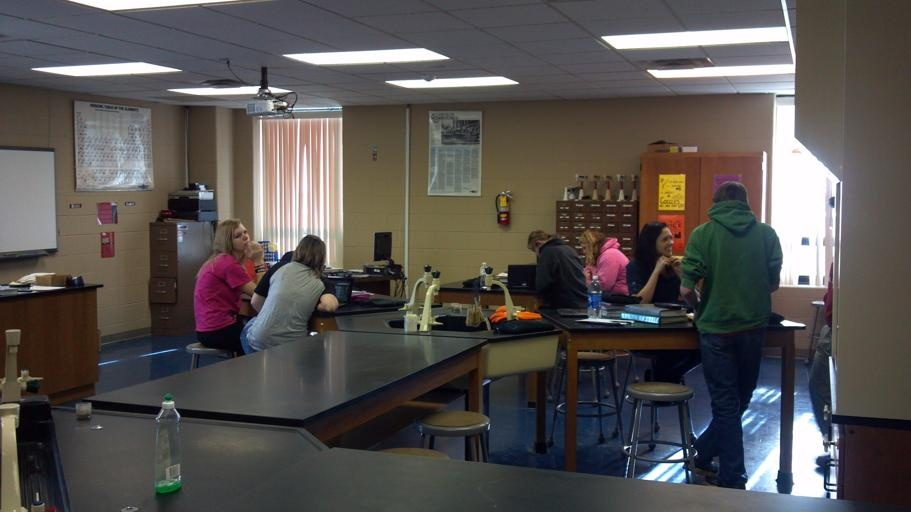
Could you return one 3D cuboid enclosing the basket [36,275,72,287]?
[{"bbox_3d":[-4.714,0.284,7.812,0.201,0.081,0.277,1,3,26],"label":"basket"}]

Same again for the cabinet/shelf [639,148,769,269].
[{"bbox_3d":[3.707,-0.628,9.480,0.790,1.884,2.218,1,1,-27],"label":"cabinet/shelf"}]

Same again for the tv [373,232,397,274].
[{"bbox_3d":[-1.068,-0.089,10.370,0.224,0.560,0.617,8,10,18],"label":"tv"}]

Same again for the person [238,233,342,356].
[{"bbox_3d":[-1.696,0.590,6.862,0.825,1.628,0.960,12,14,-12],"label":"person"}]

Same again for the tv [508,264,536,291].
[{"bbox_3d":[0.798,0.243,8.226,0.332,0.206,0.308,-1,-1,3],"label":"tv"}]

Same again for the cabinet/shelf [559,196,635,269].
[{"bbox_3d":[1.974,-0.328,9.199,1.243,0.989,0.421,0,0,18],"label":"cabinet/shelf"}]

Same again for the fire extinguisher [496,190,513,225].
[{"bbox_3d":[0.738,-0.764,10.718,0.263,0.557,0.145,1,5,9],"label":"fire extinguisher"}]

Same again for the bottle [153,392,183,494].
[{"bbox_3d":[-1.608,1.026,3.694,0.140,0.493,0.258,-2,5,-22],"label":"bottle"}]
